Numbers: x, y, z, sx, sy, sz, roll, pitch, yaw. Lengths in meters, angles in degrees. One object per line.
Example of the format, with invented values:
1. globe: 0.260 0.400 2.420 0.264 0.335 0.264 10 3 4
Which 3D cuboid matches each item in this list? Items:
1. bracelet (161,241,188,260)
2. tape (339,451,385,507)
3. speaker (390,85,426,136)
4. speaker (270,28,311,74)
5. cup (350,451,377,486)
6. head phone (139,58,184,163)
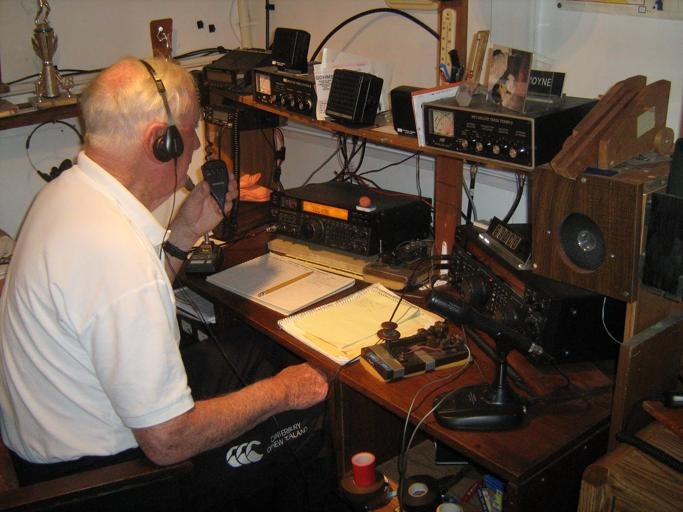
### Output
1. bracelet: -0.622 -0.018 2.083 0.088 0.045 0.066 17 17 -25
2. tape: 0.069 0.706 1.773 0.124 0.167 0.098 12 19 38
3. speaker: 0.224 -0.484 1.842 0.104 0.196 0.109 -24 35 -34
4. speaker: -0.224 -0.846 2.265 0.156 0.199 0.151 -14 26 -39
5. cup: 0.070 0.680 1.788 0.078 0.089 0.081 -1 1 0
6. head phone: -0.503 -0.406 1.621 0.097 0.288 0.260 -16 14 -15
